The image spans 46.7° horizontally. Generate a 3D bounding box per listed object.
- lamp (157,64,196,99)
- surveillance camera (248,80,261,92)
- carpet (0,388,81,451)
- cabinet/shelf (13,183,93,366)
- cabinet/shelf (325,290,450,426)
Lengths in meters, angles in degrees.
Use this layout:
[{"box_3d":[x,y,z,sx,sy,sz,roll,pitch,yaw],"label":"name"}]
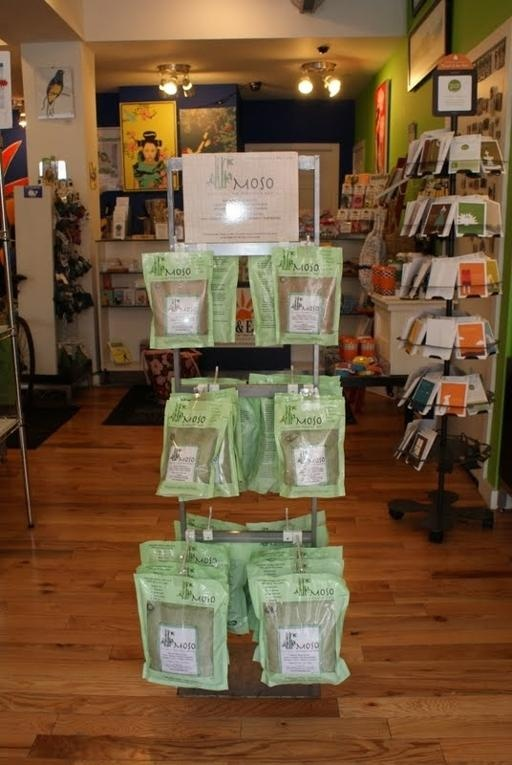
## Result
[{"box_3d":[-0.845,-3.288,6.429,0.363,0.322,0.361,-15,33,-30],"label":"lamp"},{"box_3d":[-0.010,-3.443,6.894,0.137,0.070,0.190,-1,51,-8],"label":"surveillance camera"},{"box_3d":[-1.678,0.198,4.875,0.439,0.298,1.663,-3,8,-16],"label":"carpet"},{"box_3d":[-1.785,-0.936,5.271,0.367,1.656,0.877,0,7,5],"label":"cabinet/shelf"},{"box_3d":[0.879,-0.194,4.255,0.604,0.787,0.839,-2,10,5],"label":"cabinet/shelf"}]
